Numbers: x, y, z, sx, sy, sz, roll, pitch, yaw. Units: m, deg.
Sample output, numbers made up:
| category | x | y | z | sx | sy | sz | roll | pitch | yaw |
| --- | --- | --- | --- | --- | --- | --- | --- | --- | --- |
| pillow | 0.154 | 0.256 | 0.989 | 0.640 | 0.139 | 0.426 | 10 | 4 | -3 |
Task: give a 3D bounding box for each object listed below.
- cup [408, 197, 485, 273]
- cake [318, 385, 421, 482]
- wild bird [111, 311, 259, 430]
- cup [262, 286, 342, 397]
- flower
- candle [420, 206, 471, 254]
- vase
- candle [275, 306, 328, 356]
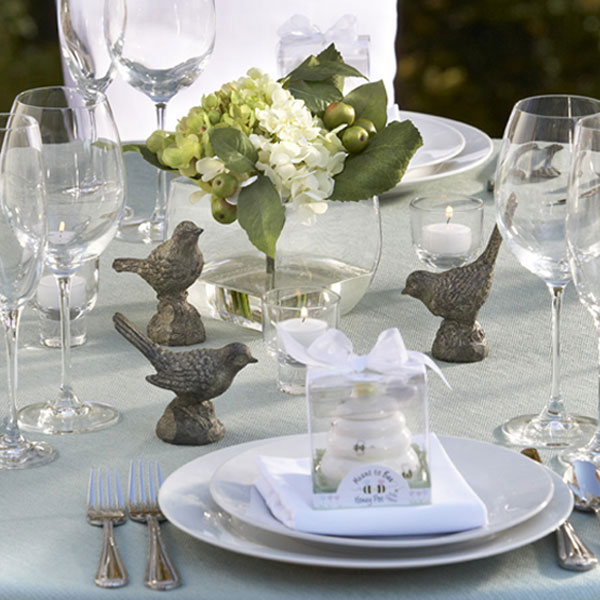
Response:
| category | x | y | z | sx | sy | sz | roll | pitch | yaw |
| --- | --- | --- | --- | --- | --- | --- | --- | --- | --- |
| cup | 0.197 | -0.088 | 1.056 | 0.112 | 0.106 | 0.103 | -2 | 18 | 1 |
| cake | 0.041 | 0.084 | 0.515 | 0.067 | 0.060 | 0.066 | -4 | 9 | -4 |
| wild bird | -0.101 | 0.068 | 0.665 | 0.124 | 0.110 | 0.056 | -2 | 13 | -6 |
| cup | 0.017 | 0.042 | 0.820 | 0.109 | 0.116 | 0.105 | 0 | 14 | 0 |
| flower | -0.029 | -0.164 | 0.874 | 0.274 | 0.186 | 0.262 | -16 | 37 | -20 |
| candle | 0.203 | -0.094 | 1.027 | 0.075 | 0.061 | 0.074 | 6 | 4 | 38 |
| vase | -0.024 | -0.047 | 0.922 | 0.225 | 0.128 | 0.199 | 0 | 7 | -4 |
| candle | 0.003 | 0.028 | 0.758 | 0.047 | 0.036 | 0.045 | 5 | 14 | 24 |
